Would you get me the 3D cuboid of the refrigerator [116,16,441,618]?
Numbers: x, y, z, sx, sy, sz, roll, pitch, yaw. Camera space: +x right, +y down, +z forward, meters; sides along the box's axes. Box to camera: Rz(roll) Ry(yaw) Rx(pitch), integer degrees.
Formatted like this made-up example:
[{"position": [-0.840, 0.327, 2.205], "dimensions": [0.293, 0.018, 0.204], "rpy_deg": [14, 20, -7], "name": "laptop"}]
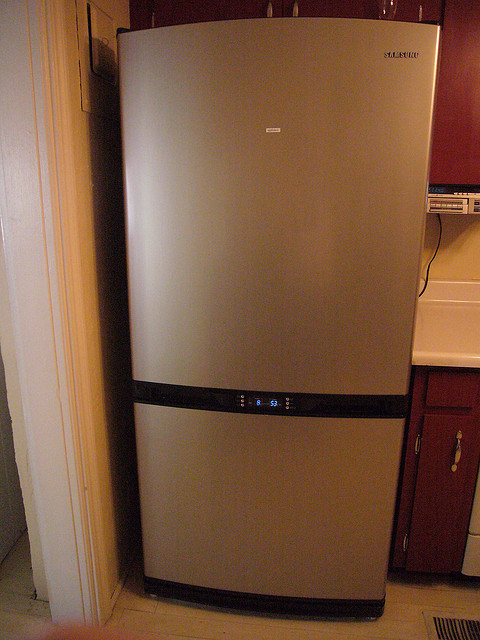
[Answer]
[{"position": [0.081, -0.100, 1.676], "dimensions": [0.765, 0.705, 2.103], "rpy_deg": [0, -57, 0], "name": "refrigerator"}]
